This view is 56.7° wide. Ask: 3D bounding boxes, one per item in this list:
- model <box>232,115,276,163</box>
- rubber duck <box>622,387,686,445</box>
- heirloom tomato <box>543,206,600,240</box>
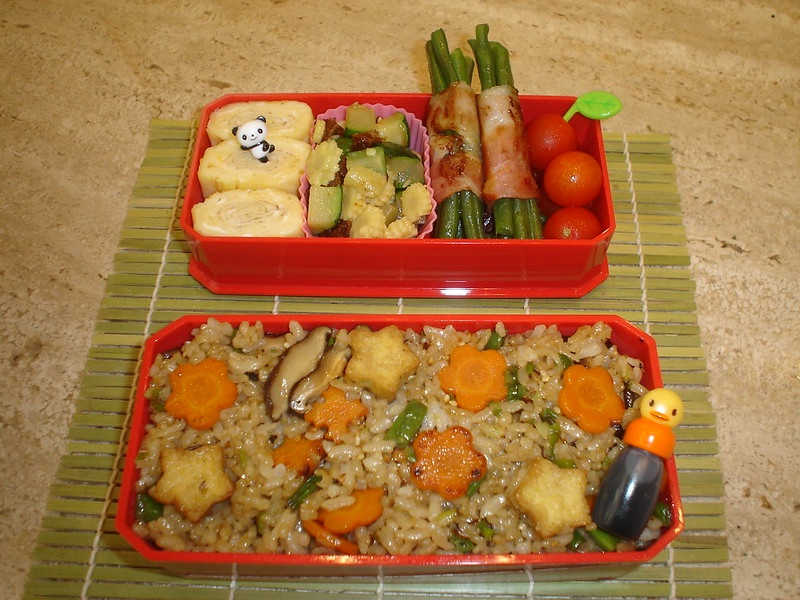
[{"bbox_3d":[-0.727,-0.782,3.686,0.173,0.108,0.215,-23,-47,-3],"label":"model"},{"bbox_3d":[1.156,0.473,3.269,0.210,0.203,0.233,5,-72,-16],"label":"rubber duck"},{"bbox_3d":[0.829,-0.364,3.588,0.198,0.193,0.136,-13,-69,11],"label":"heirloom tomato"}]
